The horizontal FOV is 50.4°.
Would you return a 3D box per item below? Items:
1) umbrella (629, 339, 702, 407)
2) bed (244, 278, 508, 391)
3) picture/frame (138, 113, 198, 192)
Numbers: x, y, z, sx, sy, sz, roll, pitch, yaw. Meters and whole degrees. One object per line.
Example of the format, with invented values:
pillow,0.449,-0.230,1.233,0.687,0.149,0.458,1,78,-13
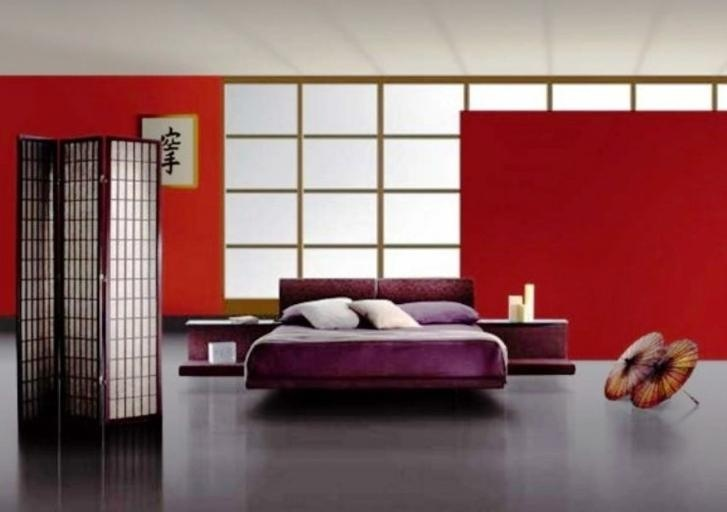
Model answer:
umbrella,2.756,1.111,7.057,0.549,0.651,0.292,-4,13,-16
bed,0.148,0.834,8.043,2.464,0.773,1.865,0,13,1
picture/frame,-2.527,-1.369,10.111,0.720,0.957,0.335,-3,12,-10
